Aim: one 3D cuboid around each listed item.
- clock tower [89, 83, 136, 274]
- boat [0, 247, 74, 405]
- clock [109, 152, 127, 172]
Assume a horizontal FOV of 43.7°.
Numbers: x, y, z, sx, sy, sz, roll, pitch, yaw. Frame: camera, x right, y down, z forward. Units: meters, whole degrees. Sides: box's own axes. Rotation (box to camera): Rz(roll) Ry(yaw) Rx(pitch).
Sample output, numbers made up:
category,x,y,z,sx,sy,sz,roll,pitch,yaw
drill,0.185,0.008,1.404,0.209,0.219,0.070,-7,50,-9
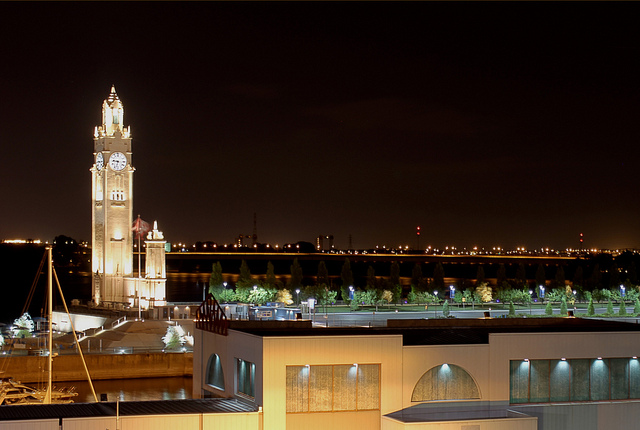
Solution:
category,x,y,z,sx,sy,sz,roll,pitch,yaw
clock tower,-21.427,-1.764,83.298,4.172,15.770,2.324,1,-8,-5
boat,-15.946,6.471,46.390,3.253,8.731,17.560,3,-9,-17
clock,-21.025,-5.567,83.138,2.017,1.890,0.306,9,-9,-28
